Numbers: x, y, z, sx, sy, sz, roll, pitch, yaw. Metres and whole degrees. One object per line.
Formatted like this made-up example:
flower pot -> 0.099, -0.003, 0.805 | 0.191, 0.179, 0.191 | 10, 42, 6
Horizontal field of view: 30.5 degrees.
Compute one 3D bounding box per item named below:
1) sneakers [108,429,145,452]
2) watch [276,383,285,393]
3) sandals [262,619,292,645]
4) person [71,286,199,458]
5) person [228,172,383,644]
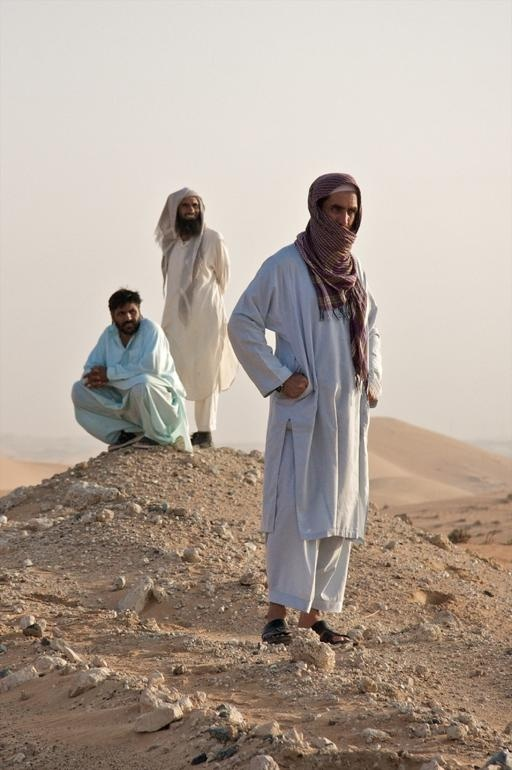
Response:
sneakers -> -1.038, 0.442, 7.468 | 0.417, 0.175, 0.149 | -5, -4, -28
watch -> 0.103, 0.011, 3.954 | 0.040, 0.041, 0.043 | 0, 3, -1
sandals -> 0.087, 1.036, 3.944 | 0.116, 0.088, 0.074 | 5, -2, 1
person -> -0.950, -0.098, 7.342 | 0.758, 1.160, 0.631 | 5, -2, 20
person -> 0.261, 0.091, 4.155 | 0.769, 1.985, 0.480 | 5, -5, -40
